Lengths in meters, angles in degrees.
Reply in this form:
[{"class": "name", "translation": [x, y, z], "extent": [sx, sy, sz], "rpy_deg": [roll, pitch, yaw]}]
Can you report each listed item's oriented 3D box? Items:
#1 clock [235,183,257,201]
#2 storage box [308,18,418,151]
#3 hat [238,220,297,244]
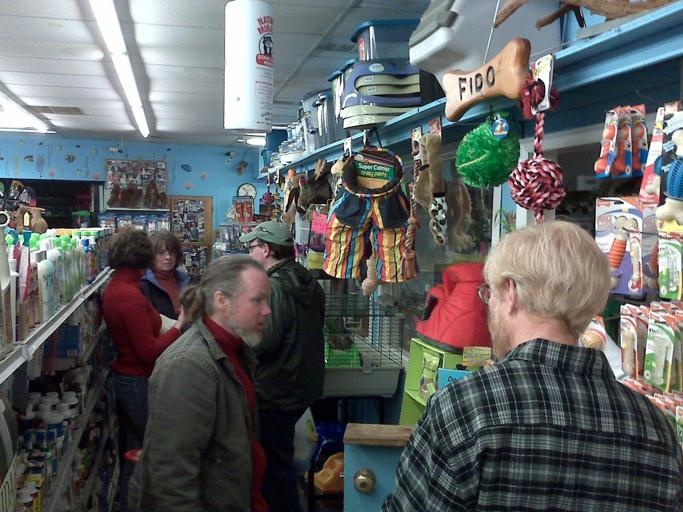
[{"class": "clock", "translation": [-2.187, -1.522, 12.647], "extent": [0.434, 0.398, 1.050], "rpy_deg": [1, 3, -9]}, {"class": "storage box", "translation": [0.135, -1.094, 3.420], "extent": [0.576, 0.724, 0.795], "rpy_deg": [-1, 4, -17]}, {"class": "hat", "translation": [-0.493, -0.148, 3.572], "extent": [0.274, 0.132, 0.175], "rpy_deg": [2, -2, 5]}]
